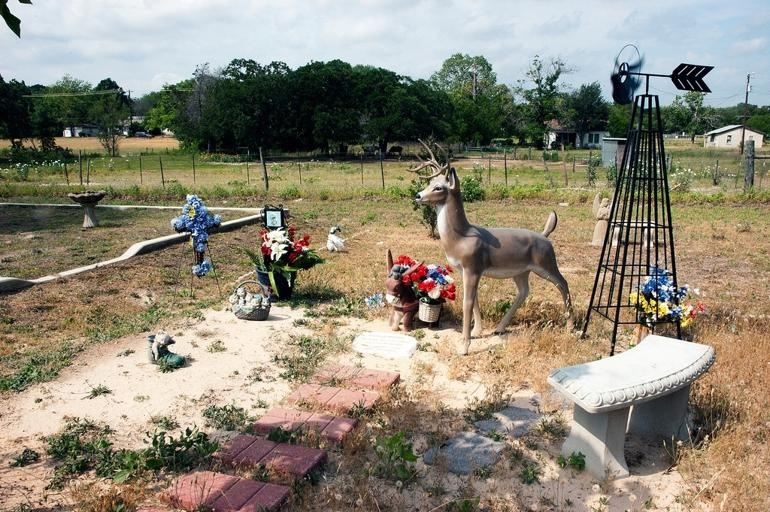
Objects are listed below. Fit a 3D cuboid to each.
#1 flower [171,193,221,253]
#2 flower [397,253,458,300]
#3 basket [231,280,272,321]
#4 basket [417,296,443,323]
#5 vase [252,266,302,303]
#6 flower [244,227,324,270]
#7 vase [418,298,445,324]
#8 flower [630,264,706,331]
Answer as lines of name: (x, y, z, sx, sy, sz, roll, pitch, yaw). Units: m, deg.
flower: (-3.587, -0.569, 11.309, 0.830, 1.162, 0.633, -10, 14, -19)
flower: (0.708, 0.394, 10.036, 0.772, 0.835, 0.809, -2, 10, -8)
basket: (-2.402, 0.819, 10.565, 0.847, 0.826, 0.635, 0, 3, 15)
basket: (0.742, 0.916, 10.033, 0.382, 0.330, 0.404, 0, 4, -28)
vase: (-2.025, 0.517, 11.311, 0.776, 0.634, 0.812, 2, 11, 16)
flower: (-1.895, -0.050, 11.060, 1.200, 0.854, 0.589, -9, 13, -12)
vase: (0.776, 0.951, 10.067, 0.387, 0.328, 0.402, 2, 4, 19)
flower: (4.143, 0.654, 8.844, 0.846, 1.016, 0.539, -6, 13, -3)
